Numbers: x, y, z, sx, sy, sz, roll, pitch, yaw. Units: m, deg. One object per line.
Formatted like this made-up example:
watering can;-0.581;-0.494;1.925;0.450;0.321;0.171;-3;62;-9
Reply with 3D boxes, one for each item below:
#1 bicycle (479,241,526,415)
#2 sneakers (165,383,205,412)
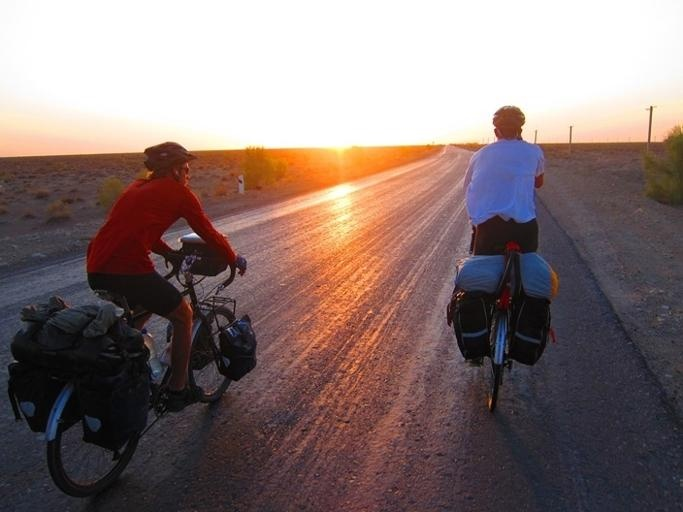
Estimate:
bicycle;1.473;0.598;4.111;0.556;0.731;1.266;6;52;12
sneakers;-1.430;1.283;4.133;0.270;0.121;0.169;-9;-2;-10
